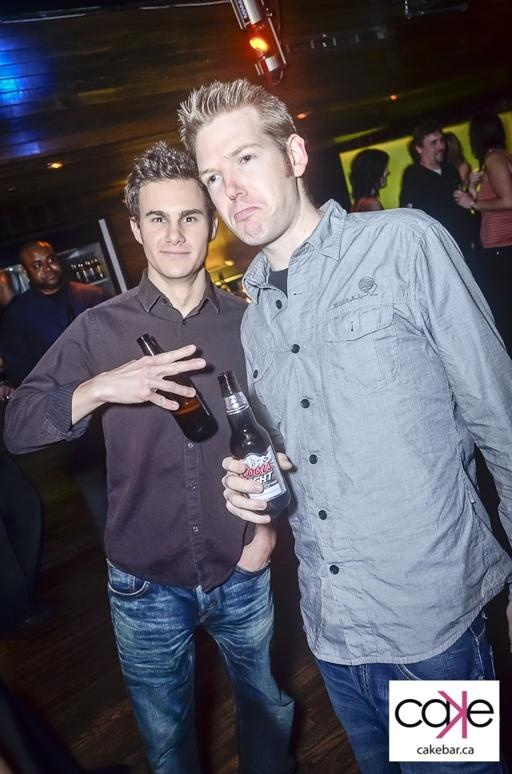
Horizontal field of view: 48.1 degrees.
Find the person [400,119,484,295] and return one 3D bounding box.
[{"bbox_3d":[1.371,-1.296,4.478,0.520,1.565,0.491,0,-10,19],"label":"person"}]
